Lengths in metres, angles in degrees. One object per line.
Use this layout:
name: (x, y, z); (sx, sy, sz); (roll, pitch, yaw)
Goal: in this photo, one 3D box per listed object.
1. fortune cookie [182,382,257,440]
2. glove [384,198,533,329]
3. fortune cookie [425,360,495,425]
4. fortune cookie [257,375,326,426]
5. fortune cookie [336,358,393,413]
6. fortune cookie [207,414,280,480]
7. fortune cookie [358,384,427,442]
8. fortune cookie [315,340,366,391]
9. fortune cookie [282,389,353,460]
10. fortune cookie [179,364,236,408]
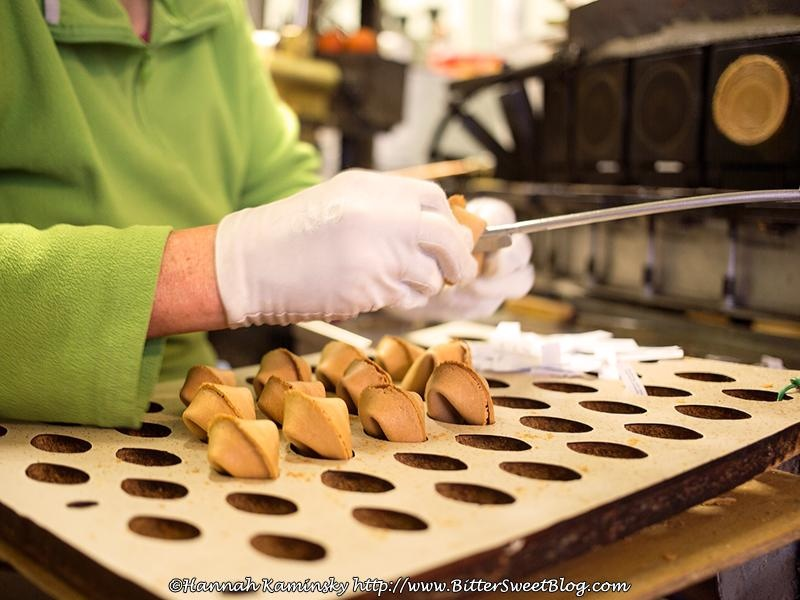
fortune cookie: (-0.230, 0.148, 1.033); (0.090, 0.056, 0.086); (24, -14, 26)
glove: (0.153, -0.072, 1.467); (0.318, 0.099, 0.223); (-15, 20, -28)
fortune cookie: (0.084, 0.138, 1.072); (0.101, 0.086, 0.043); (7, 13, 29)
fortune cookie: (-0.158, 0.131, 1.059); (0.078, 0.030, 0.085); (17, 24, 31)
fortune cookie: (-0.057, 0.117, 1.097); (0.065, 0.074, 0.080); (-9, 35, -26)
fortune cookie: (-0.190, 0.175, 0.902); (0.093, 0.061, 0.073); (2, 2, -39)
fortune cookie: (-0.008, 0.156, 1.007); (0.094, 0.040, 0.071); (17, -19, -6)
fortune cookie: (-0.098, 0.109, 1.239); (0.085, 0.069, 0.086); (-12, 35, -29)
fortune cookie: (-0.106, 0.161, 0.956); (0.084, 0.085, 0.051); (0, 12, -9)
fortune cookie: (-0.284, 0.127, 1.102); (0.057, 0.037, 0.085); (7, 3, 9)
